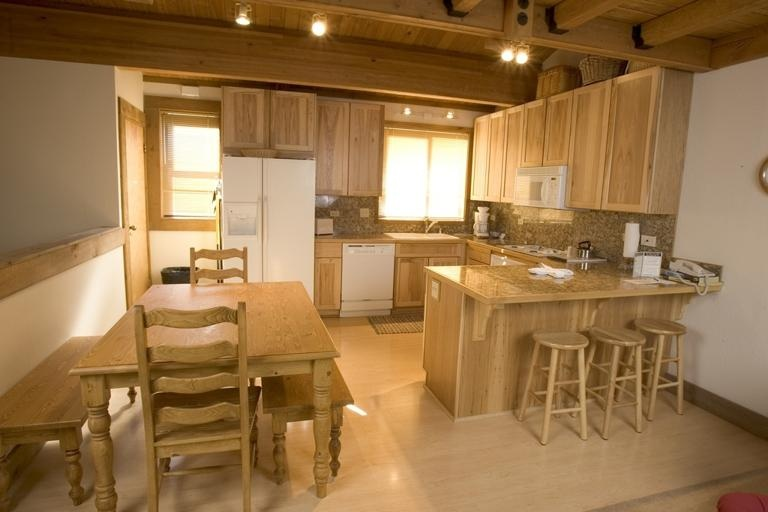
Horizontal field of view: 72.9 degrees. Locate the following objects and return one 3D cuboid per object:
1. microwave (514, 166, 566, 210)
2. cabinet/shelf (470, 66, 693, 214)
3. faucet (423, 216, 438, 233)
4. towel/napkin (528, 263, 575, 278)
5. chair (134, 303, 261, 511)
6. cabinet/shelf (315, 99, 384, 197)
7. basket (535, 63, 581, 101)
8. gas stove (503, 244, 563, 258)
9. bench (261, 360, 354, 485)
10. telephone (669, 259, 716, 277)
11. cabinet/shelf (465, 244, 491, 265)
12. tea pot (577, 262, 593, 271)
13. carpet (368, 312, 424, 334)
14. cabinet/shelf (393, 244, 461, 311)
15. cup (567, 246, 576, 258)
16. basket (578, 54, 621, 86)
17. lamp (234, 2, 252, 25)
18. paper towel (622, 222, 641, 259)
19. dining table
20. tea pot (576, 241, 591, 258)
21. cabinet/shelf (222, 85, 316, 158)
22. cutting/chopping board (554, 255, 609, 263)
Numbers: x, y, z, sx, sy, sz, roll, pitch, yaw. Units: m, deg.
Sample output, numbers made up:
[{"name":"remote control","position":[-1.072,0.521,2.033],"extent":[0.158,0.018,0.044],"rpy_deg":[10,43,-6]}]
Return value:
[{"name":"microwave","position":[1.614,-0.789,5.998],"extent":[0.779,0.430,0.378],"rpy_deg":[-4,10,-35]},{"name":"cabinet/shelf","position":[1.998,-1.187,5.654],"extent":[0.420,1.352,2.286],"rpy_deg":[-7,12,-36]},{"name":"faucet","position":[0.654,-0.427,7.290],"extent":[0.204,0.193,0.114],"rpy_deg":[-8,14,-44]},{"name":"towel/napkin","position":[1.535,0.140,4.819],"extent":[0.403,0.083,0.262],"rpy_deg":[6,10,28]},{"name":"chair","position":[-1.249,1.011,3.572],"extent":[0.765,1.496,0.519],"rpy_deg":[-1,11,-12]},{"name":"cabinet/shelf","position":[-0.575,-1.422,6.723],"extent":[1.045,1.066,0.434],"rpy_deg":[-6,13,-37]},{"name":"basket","position":[1.994,-2.014,6.070],"extent":[0.445,0.343,0.575],"rpy_deg":[-2,10,-4]},{"name":"gas stove","position":[1.726,-0.050,5.925],"extent":[0.644,0.041,0.627],"rpy_deg":[2,8,2]},{"name":"bench","position":[-0.575,1.407,4.077],"extent":[0.769,0.625,1.354],"rpy_deg":[0,7,-11]},{"name":"telephone","position":[2.795,0.120,4.765],"extent":[0.191,0.078,0.239],"rpy_deg":[-1,6,-19]},{"name":"cabinet/shelf","position":[1.193,-0.013,6.623],"extent":[0.254,0.260,0.404],"rpy_deg":[0,8,-13]},{"name":"tea pot","position":[2.038,0.099,5.278],"extent":[0.135,0.087,0.125],"rpy_deg":[-2,6,0]},{"name":"carpet","position":[0.150,0.814,6.461],"extent":[0.680,0.098,0.820],"rpy_deg":[1,8,-2]},{"name":"cabinet/shelf","position":[0.442,0.228,5.927],"extent":[0.952,0.748,0.468],"rpy_deg":[-1,7,-15]},{"name":"cup","position":[2.010,-0.034,5.597],"extent":[0.145,0.117,0.088],"rpy_deg":[-8,10,-38]},{"name":"basket","position":[2.228,-1.919,5.377],"extent":[0.365,0.185,0.340],"rpy_deg":[-5,9,-29]},{"name":"lamp","position":[-1.240,-2.141,4.572],"extent":[0.108,0.216,0.272],"rpy_deg":[-2,10,-18]},{"name":"paper towel","position":[2.453,-0.152,5.121],"extent":[0.144,0.345,0.133],"rpy_deg":[4,11,13]},{"name":"dining table","position":[-1.223,1.209,4.053],"extent":[1.688,0.914,1.985],"rpy_deg":[0,11,-7]},{"name":"tea pot","position":[2.193,-0.066,5.663],"extent":[0.161,0.180,0.208],"rpy_deg":[0,0,42]},{"name":"cabinet/shelf","position":[-1.226,-1.601,6.398],"extent":[1.341,0.821,0.687],"rpy_deg":[9,16,22]},{"name":"cutting/chopping board","position":[2.098,0.040,5.517],"extent":[0.574,0.035,0.299],"rpy_deg":[1,8,-1]}]
